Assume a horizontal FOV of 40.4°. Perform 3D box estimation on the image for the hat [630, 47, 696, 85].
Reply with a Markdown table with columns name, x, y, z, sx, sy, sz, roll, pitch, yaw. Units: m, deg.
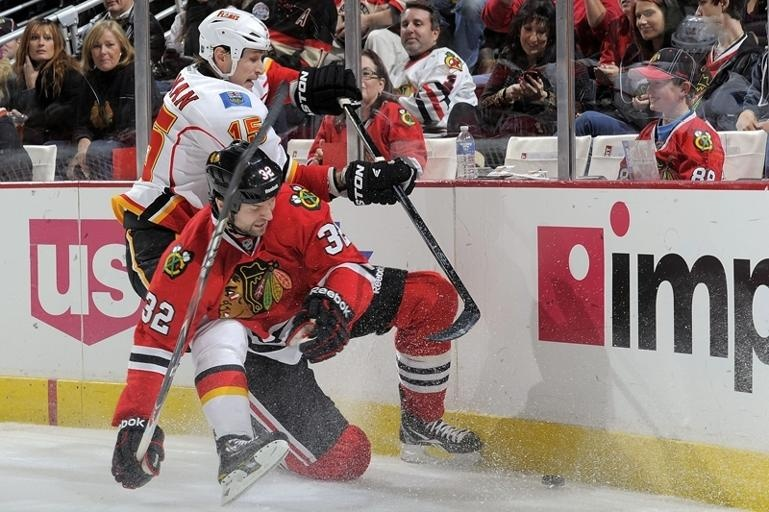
| name | x | y | z | sx | sy | sz | roll | pitch | yaw |
| --- | --- | --- | --- | --- | --- | --- | --- | --- | --- |
| hat | 1.356 | -0.906 | 5.048 | 0.231 | 0.118 | 0.151 | 15 | 6 | -1 |

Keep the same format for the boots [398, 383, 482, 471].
| name | x | y | z | sx | sy | sz | roll | pitch | yaw |
| --- | --- | --- | --- | --- | --- | --- | --- | --- | --- |
| boots | 0.208 | 0.924 | 5.547 | 0.644 | 0.478 | 0.219 | 0 | 6 | 26 |

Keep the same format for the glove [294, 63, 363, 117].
| name | x | y | z | sx | sy | sz | roll | pitch | yaw |
| --- | --- | --- | --- | --- | --- | --- | --- | --- | --- |
| glove | -0.293 | -0.847 | 5.298 | 0.308 | 0.240 | 0.150 | -3 | 6 | 15 |

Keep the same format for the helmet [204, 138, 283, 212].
| name | x | y | z | sx | sy | sz | roll | pitch | yaw |
| --- | --- | --- | --- | --- | --- | --- | --- | --- | --- |
| helmet | -0.641 | -0.401 | 4.906 | 0.341 | 0.344 | 0.267 | 2 | 26 | 34 |

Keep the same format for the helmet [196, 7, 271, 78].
| name | x | y | z | sx | sy | sz | roll | pitch | yaw |
| --- | --- | --- | --- | --- | --- | --- | --- | --- | --- |
| helmet | -0.741 | -1.074 | 5.214 | 0.357 | 0.354 | 0.290 | -4 | 10 | 2 |

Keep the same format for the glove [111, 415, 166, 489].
| name | x | y | z | sx | sy | sz | roll | pitch | yaw |
| --- | --- | --- | --- | --- | --- | --- | --- | --- | --- |
| glove | -1.119 | 0.881 | 4.819 | 0.235 | 0.308 | 0.139 | 18 | 2 | -4 |

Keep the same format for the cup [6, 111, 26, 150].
| name | x | y | z | sx | sy | sz | roll | pitch | yaw |
| --- | --- | --- | --- | --- | --- | --- | --- | --- | --- |
| cup | -2.171 | -0.742 | 6.196 | 0.135 | 0.197 | 0.085 | 5 | 5 | -22 |

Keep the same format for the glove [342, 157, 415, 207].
| name | x | y | z | sx | sy | sz | roll | pitch | yaw |
| --- | --- | --- | --- | --- | --- | --- | --- | --- | --- |
| glove | -0.024 | -0.362 | 5.088 | 0.277 | 0.133 | 0.218 | -2 | 2 | 40 |
